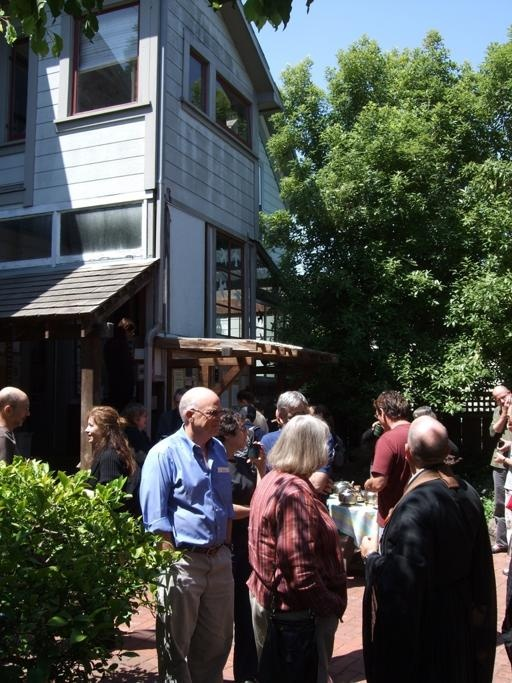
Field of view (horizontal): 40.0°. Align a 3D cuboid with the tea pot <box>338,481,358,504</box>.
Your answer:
[{"bbox_3d":[0.822,1.374,6.357,0.136,0.126,0.384,2,-5,8],"label":"tea pot"}]
